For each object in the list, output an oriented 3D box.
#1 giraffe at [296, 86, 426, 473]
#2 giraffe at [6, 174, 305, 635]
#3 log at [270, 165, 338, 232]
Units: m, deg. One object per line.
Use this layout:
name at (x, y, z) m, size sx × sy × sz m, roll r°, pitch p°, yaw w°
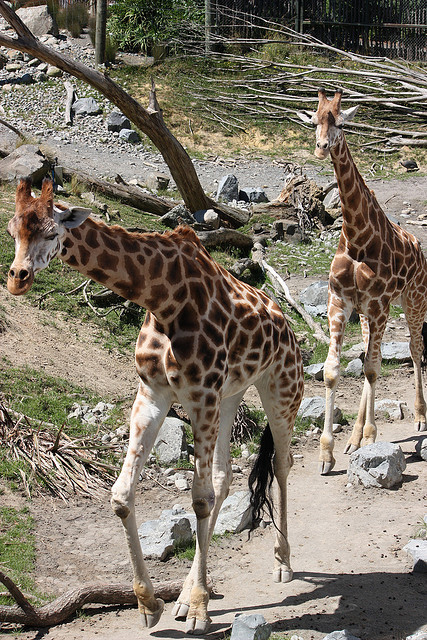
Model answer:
giraffe at (1.492, -0.434, 8.457) m, size 0.822 × 3.394 × 1.934 m, roll 9°, pitch 17°, yaw 33°
giraffe at (-0.189, 0.484, 5.619) m, size 0.925 × 2.825 × 2.143 m, roll 10°, pitch 18°, yaw 34°
log at (1.870, -2.412, 17.554) m, size 0.366 × 1.016 × 1.876 m, roll 25°, pitch 23°, yaw 26°
